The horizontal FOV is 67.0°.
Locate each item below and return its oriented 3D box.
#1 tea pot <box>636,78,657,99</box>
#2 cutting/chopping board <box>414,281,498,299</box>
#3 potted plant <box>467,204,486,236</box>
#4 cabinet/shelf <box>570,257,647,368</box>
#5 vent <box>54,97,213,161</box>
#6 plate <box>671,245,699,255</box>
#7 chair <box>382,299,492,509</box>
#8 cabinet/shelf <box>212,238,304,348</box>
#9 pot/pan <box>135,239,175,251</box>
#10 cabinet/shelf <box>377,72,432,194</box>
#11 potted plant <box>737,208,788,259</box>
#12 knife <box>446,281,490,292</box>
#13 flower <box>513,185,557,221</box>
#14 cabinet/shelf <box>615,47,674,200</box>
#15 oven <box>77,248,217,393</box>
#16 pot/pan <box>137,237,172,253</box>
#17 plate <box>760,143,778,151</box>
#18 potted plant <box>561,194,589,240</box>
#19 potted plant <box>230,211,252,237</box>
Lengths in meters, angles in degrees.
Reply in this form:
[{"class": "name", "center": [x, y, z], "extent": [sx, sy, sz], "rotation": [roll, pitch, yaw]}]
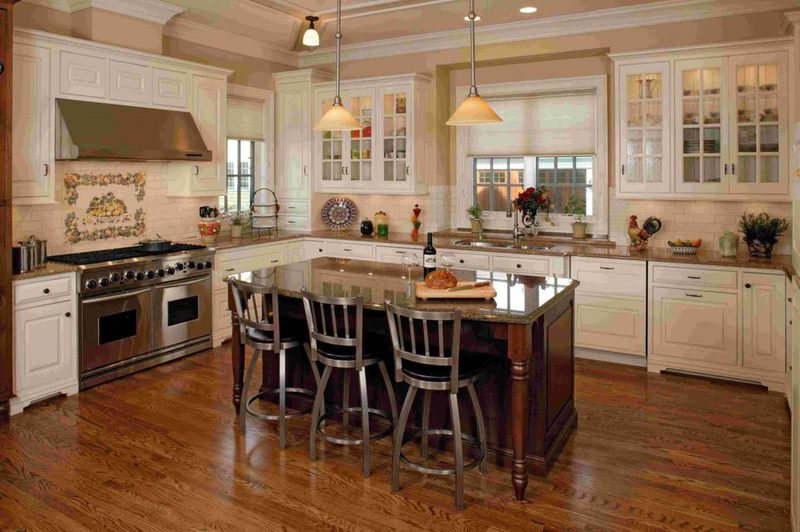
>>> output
[{"class": "tea pot", "center": [2.679, -1.918, 6.533], "extent": [0.225, 0.203, 0.122], "rotation": [4, 10, 36]}, {"class": "cutting/chopping board", "center": [0.443, 0.193, 4.941], "extent": [0.642, 0.078, 0.381], "rotation": [0, 11, 2]}, {"class": "potted plant", "center": [0.998, -0.605, 7.981], "extent": [0.213, 0.363, 0.411], "rotation": [1, 12, 6]}, {"class": "cabinet/shelf", "center": [2.264, 0.417, 6.569], "extent": [0.810, 0.992, 0.245], "rotation": [3, 12, 16]}, {"class": "vent", "center": [-2.838, -1.435, 6.540], "extent": [0.424, 0.518, 1.530], "rotation": [17, 17, 34]}, {"class": "plate", "center": [3.092, -0.176, 6.504], "extent": [0.287, 0.090, 0.202], "rotation": [1, 11, 6]}, {"class": "chair", "center": [0.283, 0.974, 4.646], "extent": [0.774, 1.440, 0.772], "rotation": [2, 12, 9]}, {"class": "cabinet/shelf", "center": [-1.473, 0.295, 5.992], "extent": [0.422, 0.800, 1.292], "rotation": [3, 9, 23]}, {"class": "pot/pan", "center": [-2.785, -0.224, 6.830], "extent": [0.184, 0.077, 0.249], "rotation": [4, 5, 37]}, {"class": "cabinet/shelf", "center": [0.056, -1.688, 7.812], "extent": [0.669, 1.488, 0.400], "rotation": [0, 12, 1]}, {"class": "potted plant", "center": [3.813, -0.308, 6.358], "extent": [0.571, 0.535, 0.475], "rotation": [-1, -1, -26]}, {"class": "knife", "center": [0.617, 0.160, 5.041], "extent": [0.113, 0.053, 0.671], "rotation": [9, 8, 42]}, {"class": "flower", "center": [1.670, -0.780, 7.624], "extent": [0.464, 0.412, 0.413], "rotation": [3, 12, 17]}, {"class": "cabinet/shelf", "center": [2.646, -1.481, 6.559], "extent": [0.621, 1.445, 0.241], "rotation": [3, 12, 15]}, {"class": "oven", "center": [-2.980, 0.419, 6.668], "extent": [0.981, 1.329, 1.663], "rotation": [13, 15, 32]}, {"class": "pot/pan", "center": [-2.791, -0.225, 6.836], "extent": [0.290, 0.089, 0.211], "rotation": [-2, 6, -41]}, {"class": "plate", "center": [3.768, -1.208, 6.145], "extent": [0.157, 0.086, 0.040], "rotation": [3, 12, 13]}, {"class": "potted plant", "center": [2.219, -0.608, 7.507], "extent": [0.264, 0.522, 0.325], "rotation": [-1, 12, -5]}, {"class": "potted plant", "center": [-2.054, -0.551, 8.097], "extent": [0.368, 0.396, 0.321], "rotation": [-1, 4, -26]}]
